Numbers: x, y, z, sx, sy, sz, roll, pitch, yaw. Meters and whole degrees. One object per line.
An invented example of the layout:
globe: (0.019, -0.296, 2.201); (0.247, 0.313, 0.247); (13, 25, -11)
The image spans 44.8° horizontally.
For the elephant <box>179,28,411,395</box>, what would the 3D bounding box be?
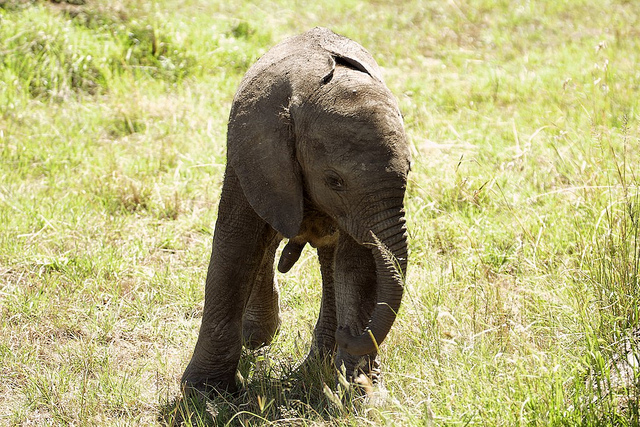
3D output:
elephant: (-0.273, 0.015, 6.772); (1.486, 2.762, 3.279); (-2, 5, -26)
